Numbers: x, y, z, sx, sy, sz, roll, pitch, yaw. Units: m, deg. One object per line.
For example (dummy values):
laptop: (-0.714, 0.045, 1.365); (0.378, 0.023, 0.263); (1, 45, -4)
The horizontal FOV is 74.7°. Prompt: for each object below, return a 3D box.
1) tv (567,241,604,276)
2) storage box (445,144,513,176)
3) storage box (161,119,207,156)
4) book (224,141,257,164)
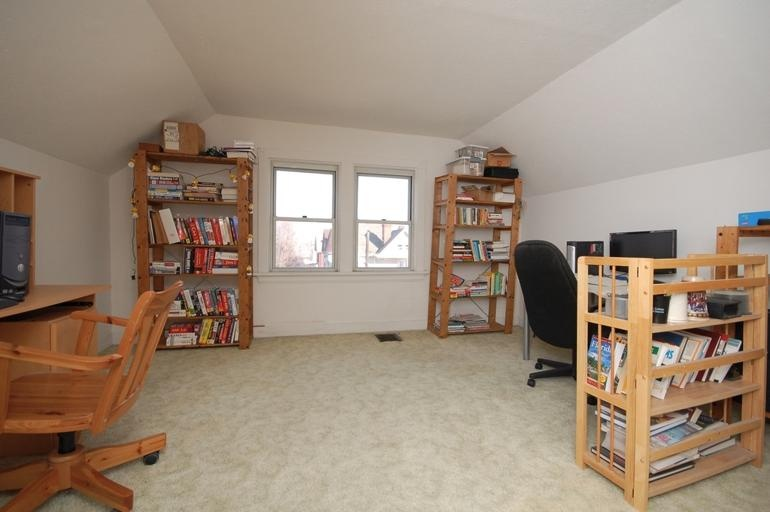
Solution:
tv: (2.053, 0.015, 5.273); (0.441, 0.467, 0.431); (0, 2, 8)
storage box: (1.215, -1.139, 6.111); (0.619, 0.245, 0.423); (0, 5, -17)
storage box: (-2.156, -1.253, 5.349); (0.403, 0.297, 0.385); (1, 5, -11)
book: (-1.593, -1.142, 5.540); (0.328, 0.095, 0.322); (-1, 4, -14)
